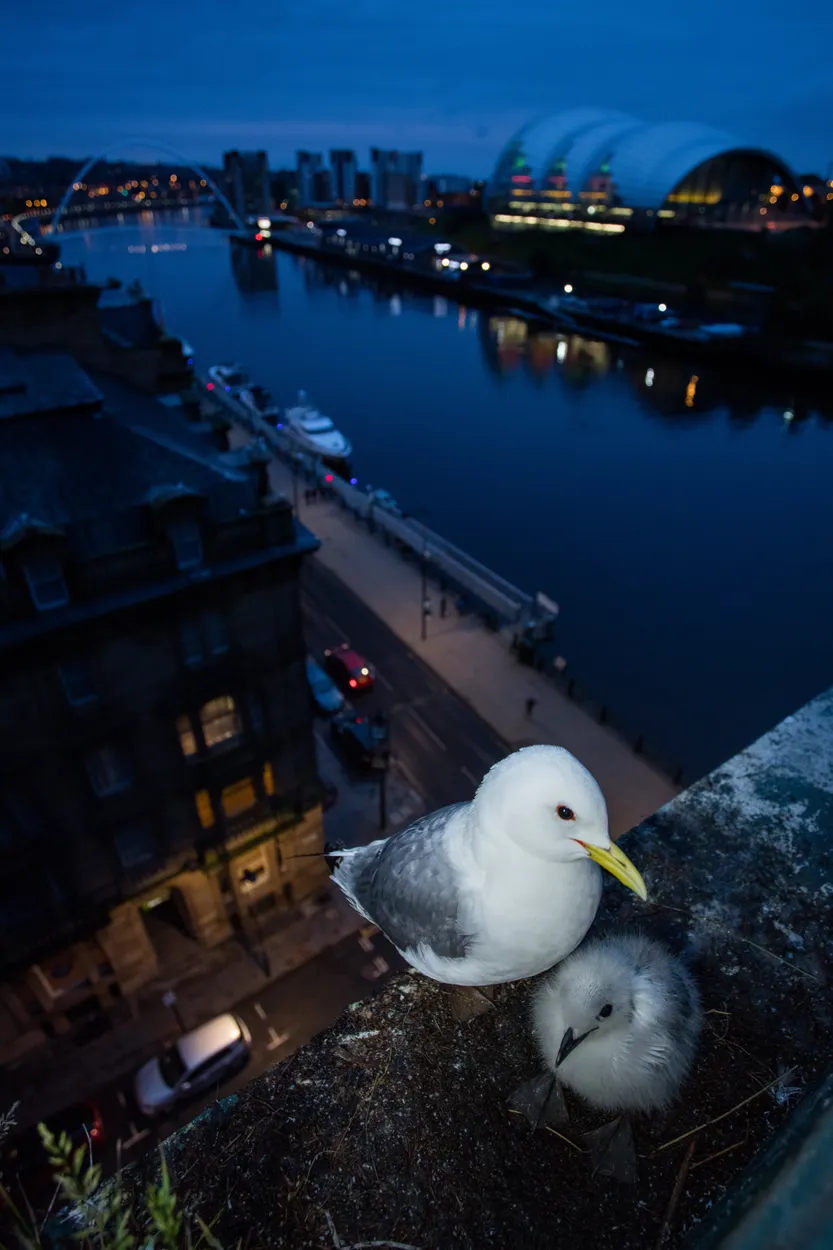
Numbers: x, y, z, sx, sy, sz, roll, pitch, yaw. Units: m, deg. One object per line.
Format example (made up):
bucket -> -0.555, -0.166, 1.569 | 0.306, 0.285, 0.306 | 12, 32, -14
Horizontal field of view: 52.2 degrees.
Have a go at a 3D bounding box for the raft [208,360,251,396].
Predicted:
raft -> -18.607, -24.144, 83.249 | 3.857, 1.795, 5.320 | -22, 46, -23

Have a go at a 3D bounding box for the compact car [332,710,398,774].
compact car -> -2.119, 4.244, 32.908 | 1.785, 1.169, 2.900 | -21, 50, -19

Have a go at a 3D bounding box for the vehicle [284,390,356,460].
vehicle -> -8.569, -15.699, 72.126 | 3.603, 4.182, 9.833 | -26, 44, -19

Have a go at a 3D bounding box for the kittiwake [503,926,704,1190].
kittiwake -> 1.137, 2.502, 5.095 | 1.004, 0.504, 1.679 | 12, 31, 22

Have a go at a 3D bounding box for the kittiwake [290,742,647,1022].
kittiwake -> 0.462, 2.078, 7.504 | 3.418, 2.411, 1.653 | 10, 27, 35

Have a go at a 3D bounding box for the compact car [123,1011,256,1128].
compact car -> -5.685, 10.935, 21.329 | 3.010, 1.266, 1.320 | -22, 44, -34
